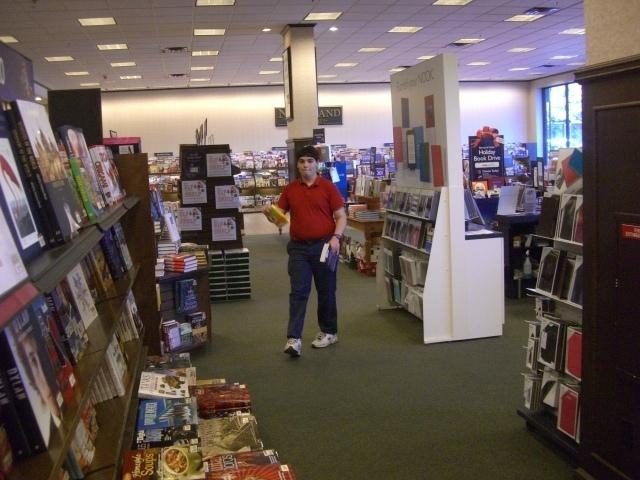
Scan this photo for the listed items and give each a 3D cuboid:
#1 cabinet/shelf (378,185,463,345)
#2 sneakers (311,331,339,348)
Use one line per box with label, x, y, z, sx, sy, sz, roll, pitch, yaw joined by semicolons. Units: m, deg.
cabinet/shelf;1.118;0.281;4.942;0.489;1.679;1.678;0;-1;-5
sneakers;0.037;1.045;4.738;0.261;0.119;0.111;3;-8;-43
